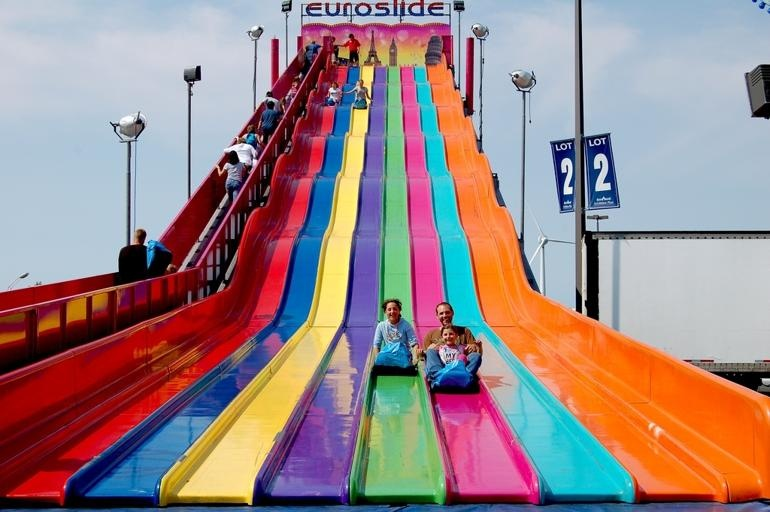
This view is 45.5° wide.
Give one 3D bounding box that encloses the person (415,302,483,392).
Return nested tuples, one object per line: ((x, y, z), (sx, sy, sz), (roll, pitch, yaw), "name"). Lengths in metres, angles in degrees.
((0.858, 1.139, 11.791), (0.768, 1.247, 0.943), (-3, -18, 4), "person")

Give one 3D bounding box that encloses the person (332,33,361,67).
((-1.284, -6.765, 31.226), (0.788, 1.704, 0.597), (-2, -22, -1), "person")

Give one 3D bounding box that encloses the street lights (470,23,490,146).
((2.617, -5.236, 25.912), (0.532, 2.423, 0.486), (7, 9, 5), "street lights")

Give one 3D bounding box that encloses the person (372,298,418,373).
((0.147, 1.006, 12.127), (0.636, 0.938, 0.751), (-7, -12, 19), "person")
